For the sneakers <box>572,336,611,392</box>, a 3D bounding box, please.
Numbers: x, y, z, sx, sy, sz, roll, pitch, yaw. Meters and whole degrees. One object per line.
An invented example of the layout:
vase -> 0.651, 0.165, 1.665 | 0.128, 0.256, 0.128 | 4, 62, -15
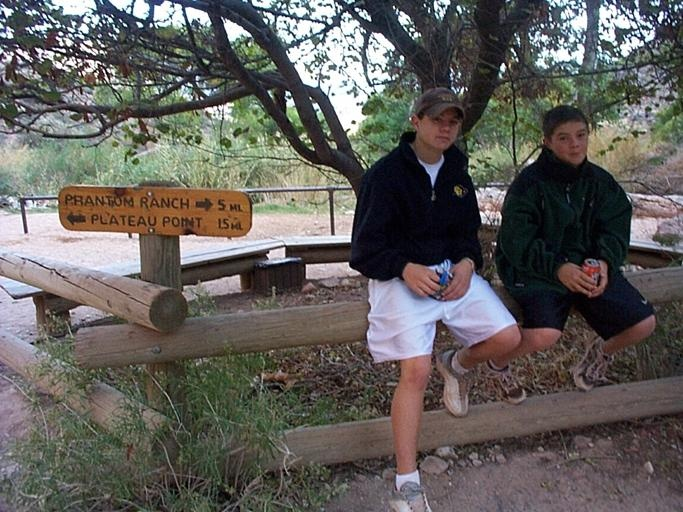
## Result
sneakers -> 1.855, 0.816, 3.639 | 0.276, 0.443, 0.186 | 3, 17, -7

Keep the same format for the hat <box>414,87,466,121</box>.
hat -> 0.586, -0.948, 3.109 | 0.194, 0.140, 0.269 | -1, 12, -17

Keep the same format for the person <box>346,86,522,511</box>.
person -> 0.540, 0.248, 3.078 | 1.092, 2.507, 0.810 | -12, 15, -31

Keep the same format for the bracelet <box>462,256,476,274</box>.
bracelet -> 0.826, 0.059, 3.149 | 0.093, 0.034, 0.081 | 23, 17, -40

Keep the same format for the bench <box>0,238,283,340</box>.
bench -> -2.076, 0.188, 5.990 | 3.228, 0.500, 0.632 | -16, 17, -39

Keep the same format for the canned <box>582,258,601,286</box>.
canned -> 1.597, 0.103, 3.133 | 0.141, 0.163, 0.078 | -10, 14, -21

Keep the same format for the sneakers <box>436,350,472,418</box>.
sneakers -> 0.783, 0.851, 3.335 | 0.173, 0.494, 0.210 | -8, -7, -34
